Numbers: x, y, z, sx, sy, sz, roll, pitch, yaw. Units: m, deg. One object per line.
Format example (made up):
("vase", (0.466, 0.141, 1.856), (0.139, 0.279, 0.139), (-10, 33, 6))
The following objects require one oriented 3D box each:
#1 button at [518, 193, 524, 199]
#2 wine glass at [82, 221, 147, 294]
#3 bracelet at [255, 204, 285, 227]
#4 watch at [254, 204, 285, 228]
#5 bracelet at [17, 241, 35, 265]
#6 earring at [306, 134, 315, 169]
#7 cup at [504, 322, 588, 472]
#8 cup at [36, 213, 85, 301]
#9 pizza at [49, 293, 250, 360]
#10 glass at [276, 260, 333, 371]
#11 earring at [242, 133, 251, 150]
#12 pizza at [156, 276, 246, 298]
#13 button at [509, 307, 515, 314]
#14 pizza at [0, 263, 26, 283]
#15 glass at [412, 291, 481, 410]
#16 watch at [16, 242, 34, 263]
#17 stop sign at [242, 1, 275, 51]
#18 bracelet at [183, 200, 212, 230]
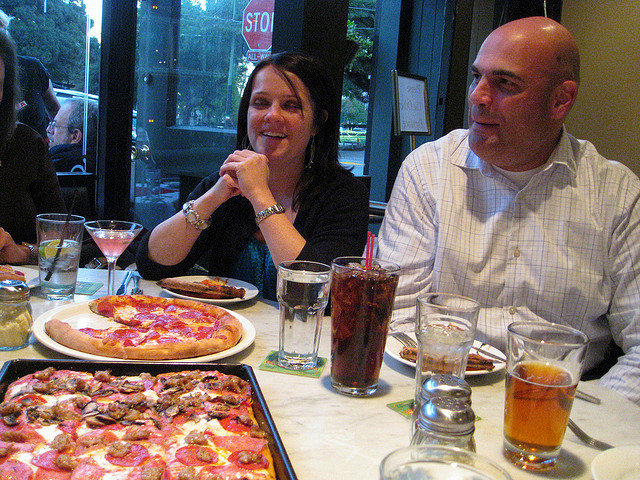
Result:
("button", (0.831, -0.180, 2.094), (0.021, 0.019, 0.005), (6, -1, -6))
("wine glass", (-0.721, 0.060, 1.949), (0.274, 0.281, 0.257), (2, 6, -17))
("bracelet", (-0.228, -0.113, 2.302), (0.105, 0.090, 0.107), (-23, -12, 37))
("watch", (-0.231, -0.117, 2.307), (0.111, 0.093, 0.107), (-18, -4, -32))
("bracelet", (-1.352, 0.061, 2.338), (0.121, 0.111, 0.038), (-1, -4, -29))
("earring", (-0.044, -0.447, 2.645), (0.030, 0.149, 0.065), (2, 10, 0))
("cup", (0.495, 0.349, 1.138), (0.160, 0.301, 0.145), (6, 11, 21))
("cup", (-0.971, 0.082, 1.851), (0.201, 0.305, 0.194), (2, 4, 0))
("pizza", (-0.496, 0.267, 1.595), (0.484, 0.054, 0.465), (10, 8, -12))
("glass", (-0.045, 0.214, 1.432), (0.153, 0.301, 0.112), (2, 10, -3))
("earring", (-0.392, -0.529, 2.713), (0.061, 0.054, 0.013), (10, 37, 0))
("pizza", (-0.428, 0.175, 1.877), (0.228, 0.036, 0.126), (3, -2, 3))
("button", (0.791, 0.292, 2.093), (0.020, 0.025, 0.010), (4, 10, 12))
("pizza", (-1.133, 0.125, 1.879), (0.076, 0.051, 0.284), (-3, 10, -30))
("glass", (0.288, 0.267, 1.211), (0.146, 0.263, 0.140), (34, -34, -18))
("watch", (-1.348, 0.051, 2.339), (0.103, 0.094, 0.030), (-1, -17, -25))
("stop sign", (-0.562, -2.009, 4.762), (0.147, 0.455, 0.448), (-5, 12, -34))
("bracelet", (-0.580, -0.119, 2.405), (0.118, 0.125, 0.057), (-9, 5, 24))
